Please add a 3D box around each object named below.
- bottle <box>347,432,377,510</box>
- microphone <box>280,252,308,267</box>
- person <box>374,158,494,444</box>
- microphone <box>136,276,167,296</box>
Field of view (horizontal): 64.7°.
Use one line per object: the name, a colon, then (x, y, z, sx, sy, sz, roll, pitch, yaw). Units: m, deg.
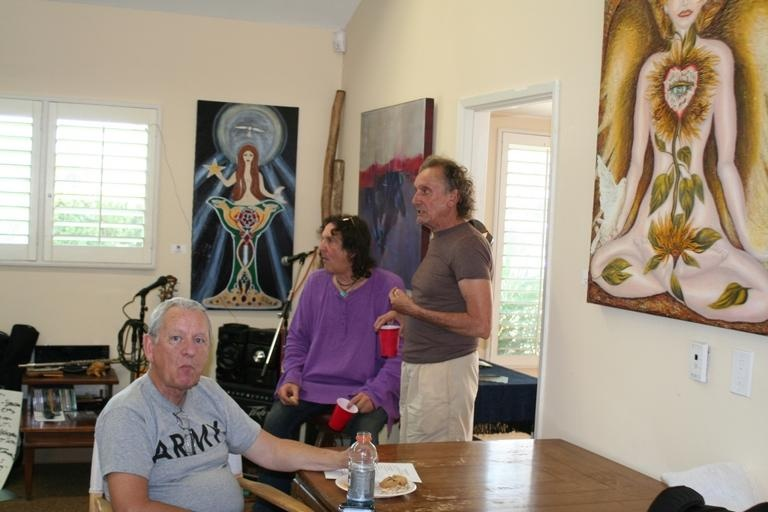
bottle: (-0.077, 0.792, 2.279, 0.103, 0.236, 0.269, 4, 7, -2)
microphone: (-0.753, 0.021, 5.053, 0.215, 0.066, 0.072, -19, 28, -28)
person: (0.316, 0.262, 3.107, 0.515, 1.534, 0.447, 9, 9, 27)
microphone: (-1.953, 0.264, 5.137, 0.223, 0.182, 0.479, 3, 7, -18)
